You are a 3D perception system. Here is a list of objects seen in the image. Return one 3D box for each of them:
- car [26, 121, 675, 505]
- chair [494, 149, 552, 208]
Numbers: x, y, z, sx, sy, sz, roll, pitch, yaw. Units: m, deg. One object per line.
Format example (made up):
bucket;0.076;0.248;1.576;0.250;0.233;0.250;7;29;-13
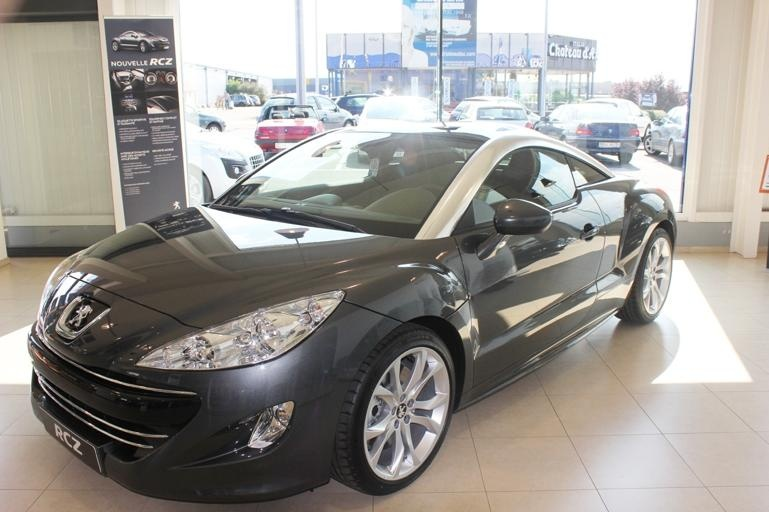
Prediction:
car;0.177;0.137;2.924;3.335;1.103;1.787;-14;21;-41
chair;0.883;-0.495;3.089;0.158;0.239;0.474;19;43;37
